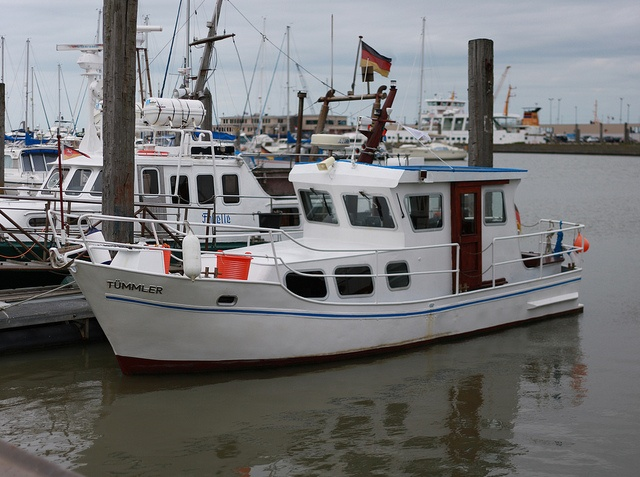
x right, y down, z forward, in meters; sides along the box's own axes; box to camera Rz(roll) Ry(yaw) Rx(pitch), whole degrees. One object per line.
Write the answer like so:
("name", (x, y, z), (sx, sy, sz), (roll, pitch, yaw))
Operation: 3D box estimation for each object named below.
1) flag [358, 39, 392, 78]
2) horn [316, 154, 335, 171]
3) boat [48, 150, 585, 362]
("flag", (1.050, -3.367, 16.594), (0.702, 0.566, 0.105), (21, 34, 27))
("horn", (0.067, -1.320, 15.453), (0.260, 0.154, 0.277), (-1, 31, 45))
("boat", (0.453, 0.649, 14.698), (10.691, 3.071, 3.842), (-1, 4, -11))
